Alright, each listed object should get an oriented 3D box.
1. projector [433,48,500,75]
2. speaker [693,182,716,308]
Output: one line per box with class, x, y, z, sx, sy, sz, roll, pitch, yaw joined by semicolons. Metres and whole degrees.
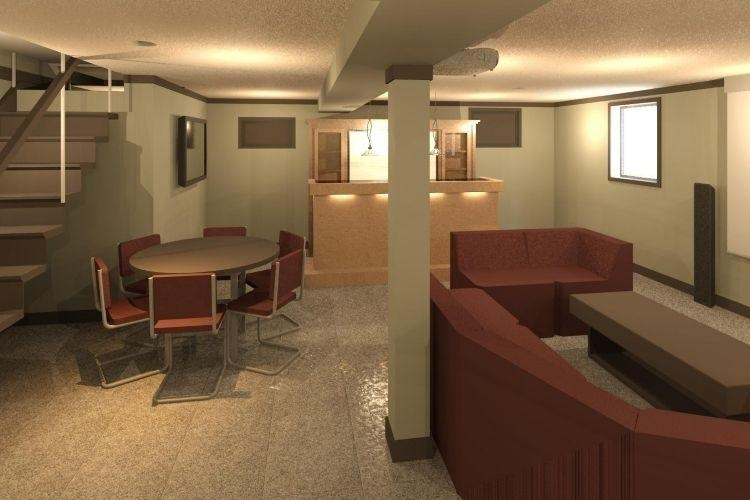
projector;0.897;-1.857;5.138;0.635;0.203;0.691;-2;11;-13
speaker;4.239;-0.135;6.865;0.359;1.655;0.105;8;-9;-20
